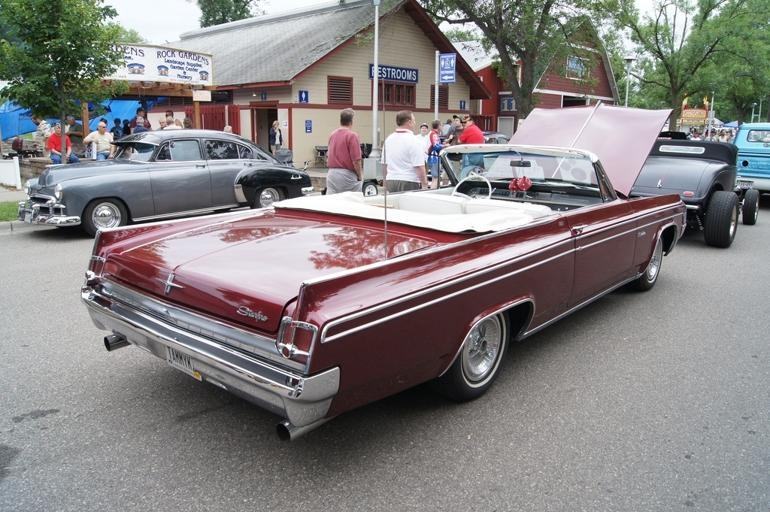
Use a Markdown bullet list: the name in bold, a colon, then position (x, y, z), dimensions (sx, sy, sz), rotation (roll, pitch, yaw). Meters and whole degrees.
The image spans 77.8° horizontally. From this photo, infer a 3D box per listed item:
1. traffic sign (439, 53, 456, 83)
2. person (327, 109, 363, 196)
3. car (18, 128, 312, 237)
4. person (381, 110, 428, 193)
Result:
- **traffic sign**: position (2.404, -7.326, 18.496), dimensions (0.563, 0.998, 0.821), rotation (-3, 17, 0)
- **person**: position (-0.711, -1.837, 8.377), dimensions (0.724, 0.889, 1.695), rotation (2, 62, -4)
- **car**: position (-4.483, -1.526, 10.665), dimensions (5.701, 1.869, 2.682), rotation (-7, 13, -38)
- **person**: position (0.271, -1.680, 8.008), dimensions (0.612, 1.871, 0.723), rotation (1, 2, 34)
